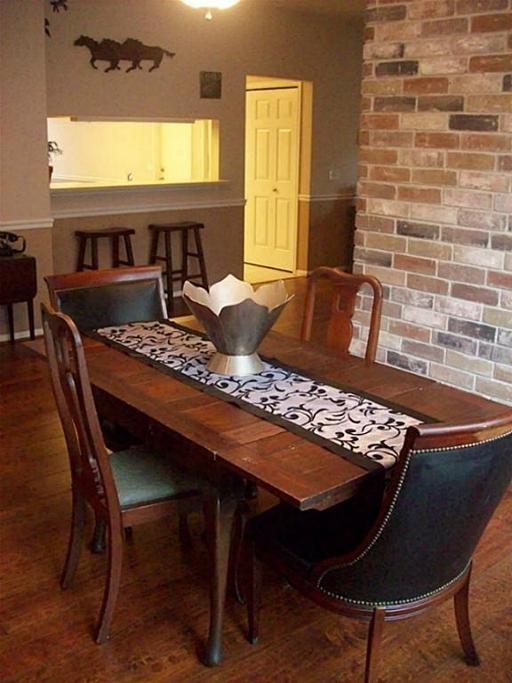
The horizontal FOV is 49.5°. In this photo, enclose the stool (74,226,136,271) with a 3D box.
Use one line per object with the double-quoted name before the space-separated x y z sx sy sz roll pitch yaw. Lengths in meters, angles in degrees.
"stool" -1.314 -0.838 5.009 0.568 0.390 0.407 -6 13 -35
